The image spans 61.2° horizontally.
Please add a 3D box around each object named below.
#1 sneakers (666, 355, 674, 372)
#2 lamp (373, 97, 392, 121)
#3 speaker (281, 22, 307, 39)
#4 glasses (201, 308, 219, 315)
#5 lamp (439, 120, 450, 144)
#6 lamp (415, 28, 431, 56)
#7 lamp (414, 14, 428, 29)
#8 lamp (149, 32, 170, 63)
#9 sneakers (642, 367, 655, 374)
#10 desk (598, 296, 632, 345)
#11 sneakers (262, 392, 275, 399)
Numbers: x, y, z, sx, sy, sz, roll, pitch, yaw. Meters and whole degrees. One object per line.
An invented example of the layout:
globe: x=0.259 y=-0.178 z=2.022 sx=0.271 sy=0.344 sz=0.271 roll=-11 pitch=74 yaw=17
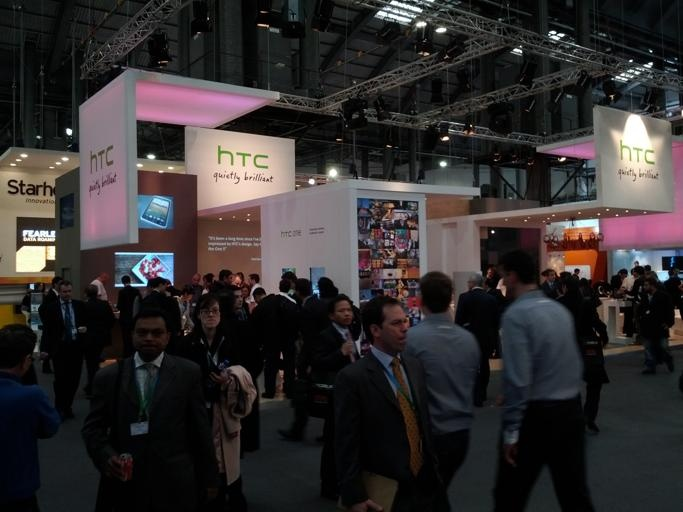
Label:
sneakers: x=4.896 y=1.596 z=8.610 sx=0.206 sy=0.243 sz=0.087 roll=0 pitch=-2 yaw=-45
lamp: x=0.992 y=-3.804 z=14.562 sx=0.346 sy=0.636 sz=1.176 roll=-1 pitch=-1 yaw=4
speaker: x=-0.773 y=-3.750 z=9.297 sx=0.385 sy=0.305 sz=0.216 roll=4 pitch=-12 yaw=-11
glasses: x=-0.879 y=0.368 z=3.879 sx=0.106 sy=0.051 sz=0.026 roll=-1 pitch=-2 yaw=-20
lamp: x=2.696 y=-3.428 z=15.370 sx=0.253 sy=0.616 sz=1.071 roll=-1 pitch=-1 yaw=10
lamp: x=1.644 y=-4.337 z=11.581 sx=0.308 sy=0.458 sz=0.414 roll=-1 pitch=-1 yaw=8
lamp: x=1.554 y=-4.672 z=11.404 sx=0.199 sy=0.212 sz=0.374 roll=0 pitch=5 yaw=2
lamp: x=-3.522 y=-4.100 z=11.103 sx=0.389 sy=0.725 sz=0.548 roll=-1 pitch=-1 yaw=-10
sneakers: x=4.555 y=1.691 z=8.559 sx=0.199 sy=0.089 sz=0.082 roll=5 pitch=-5 yaw=-13
desk: x=5.833 y=1.355 z=12.187 sx=0.716 sy=0.924 sz=0.743 roll=0 pitch=-4 yaw=0
sneakers: x=-0.930 y=1.783 z=7.396 sx=0.172 sy=0.094 sz=0.037 roll=2 pitch=4 yaw=31
